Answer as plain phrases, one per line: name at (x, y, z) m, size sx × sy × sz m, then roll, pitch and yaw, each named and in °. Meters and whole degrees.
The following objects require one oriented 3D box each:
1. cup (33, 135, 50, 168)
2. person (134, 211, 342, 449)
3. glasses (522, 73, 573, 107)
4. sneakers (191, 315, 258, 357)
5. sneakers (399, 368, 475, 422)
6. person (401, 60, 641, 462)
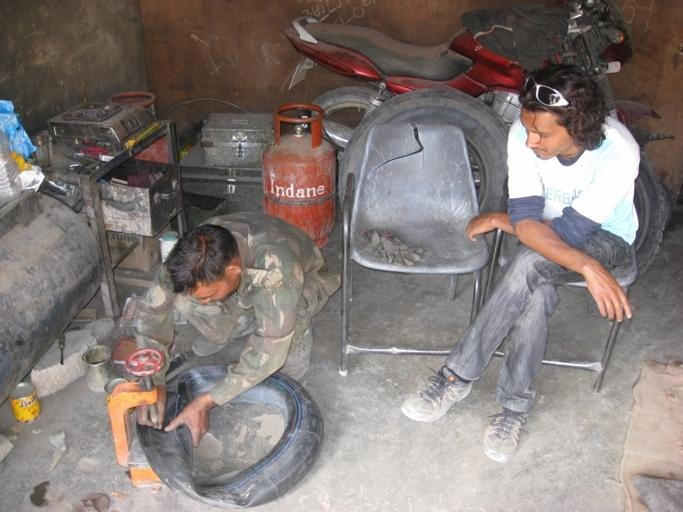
cup at (-1.767, -0.633, 3.320) m, size 0.099 × 0.146 × 0.225 m, roll -10°, pitch 32°, yaw -19°
person at (-0.520, 0.256, 2.848) m, size 0.811 × 0.999 × 1.109 m, roll 5°, pitch 30°, yaw 7°
glasses at (0.895, -0.720, 2.477) m, size 0.087 × 0.105 × 0.227 m, roll -25°, pitch 39°, yaw -37°
sneakers at (-0.662, 0.443, 3.154) m, size 0.330 × 0.143 × 0.113 m, roll -26°, pitch 66°, yaw -15°
sneakers at (0.504, 0.745, 3.037) m, size 0.408 × 0.178 × 0.213 m, roll -31°, pitch 71°, yaw -4°
person at (0.977, 0.013, 2.746) m, size 1.124 × 1.735 × 0.851 m, roll -14°, pitch 33°, yaw -24°
